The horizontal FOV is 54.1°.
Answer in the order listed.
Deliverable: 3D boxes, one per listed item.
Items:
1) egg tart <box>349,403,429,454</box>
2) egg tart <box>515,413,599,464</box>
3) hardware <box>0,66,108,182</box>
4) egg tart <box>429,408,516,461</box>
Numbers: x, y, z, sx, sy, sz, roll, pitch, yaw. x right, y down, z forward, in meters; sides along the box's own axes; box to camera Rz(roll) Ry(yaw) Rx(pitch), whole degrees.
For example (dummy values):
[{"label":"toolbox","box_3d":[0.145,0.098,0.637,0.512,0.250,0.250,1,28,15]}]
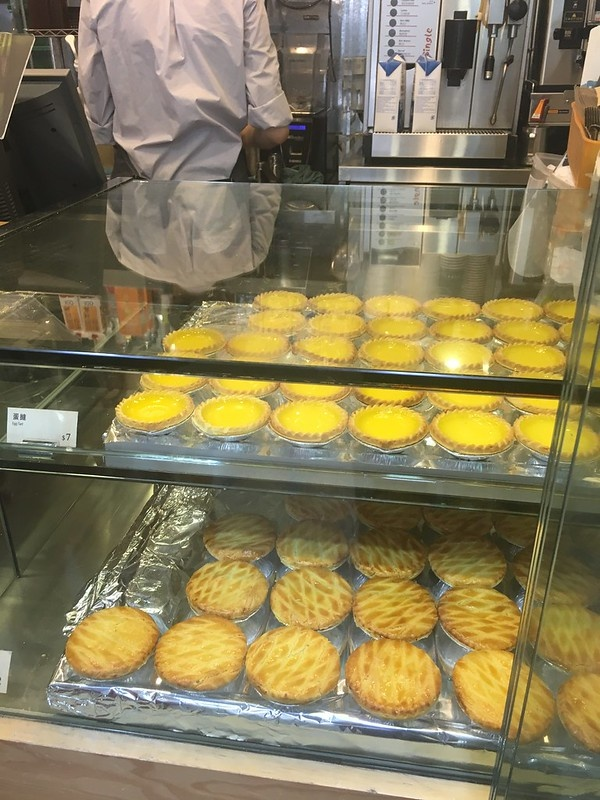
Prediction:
[{"label":"egg tart","box_3d":[0.118,0.034,0.721,0.069,0.021,0.066,-7,33,-8]},{"label":"egg tart","box_3d":[0.233,0.042,0.540,0.062,0.019,0.061,-29,41,-35]},{"label":"hardware","box_3d":[-0.511,-0.569,1.236,0.168,0.219,0.217,-6,31,-10]},{"label":"egg tart","box_3d":[0.213,0.041,0.695,0.066,0.022,0.064,2,32,9]}]
